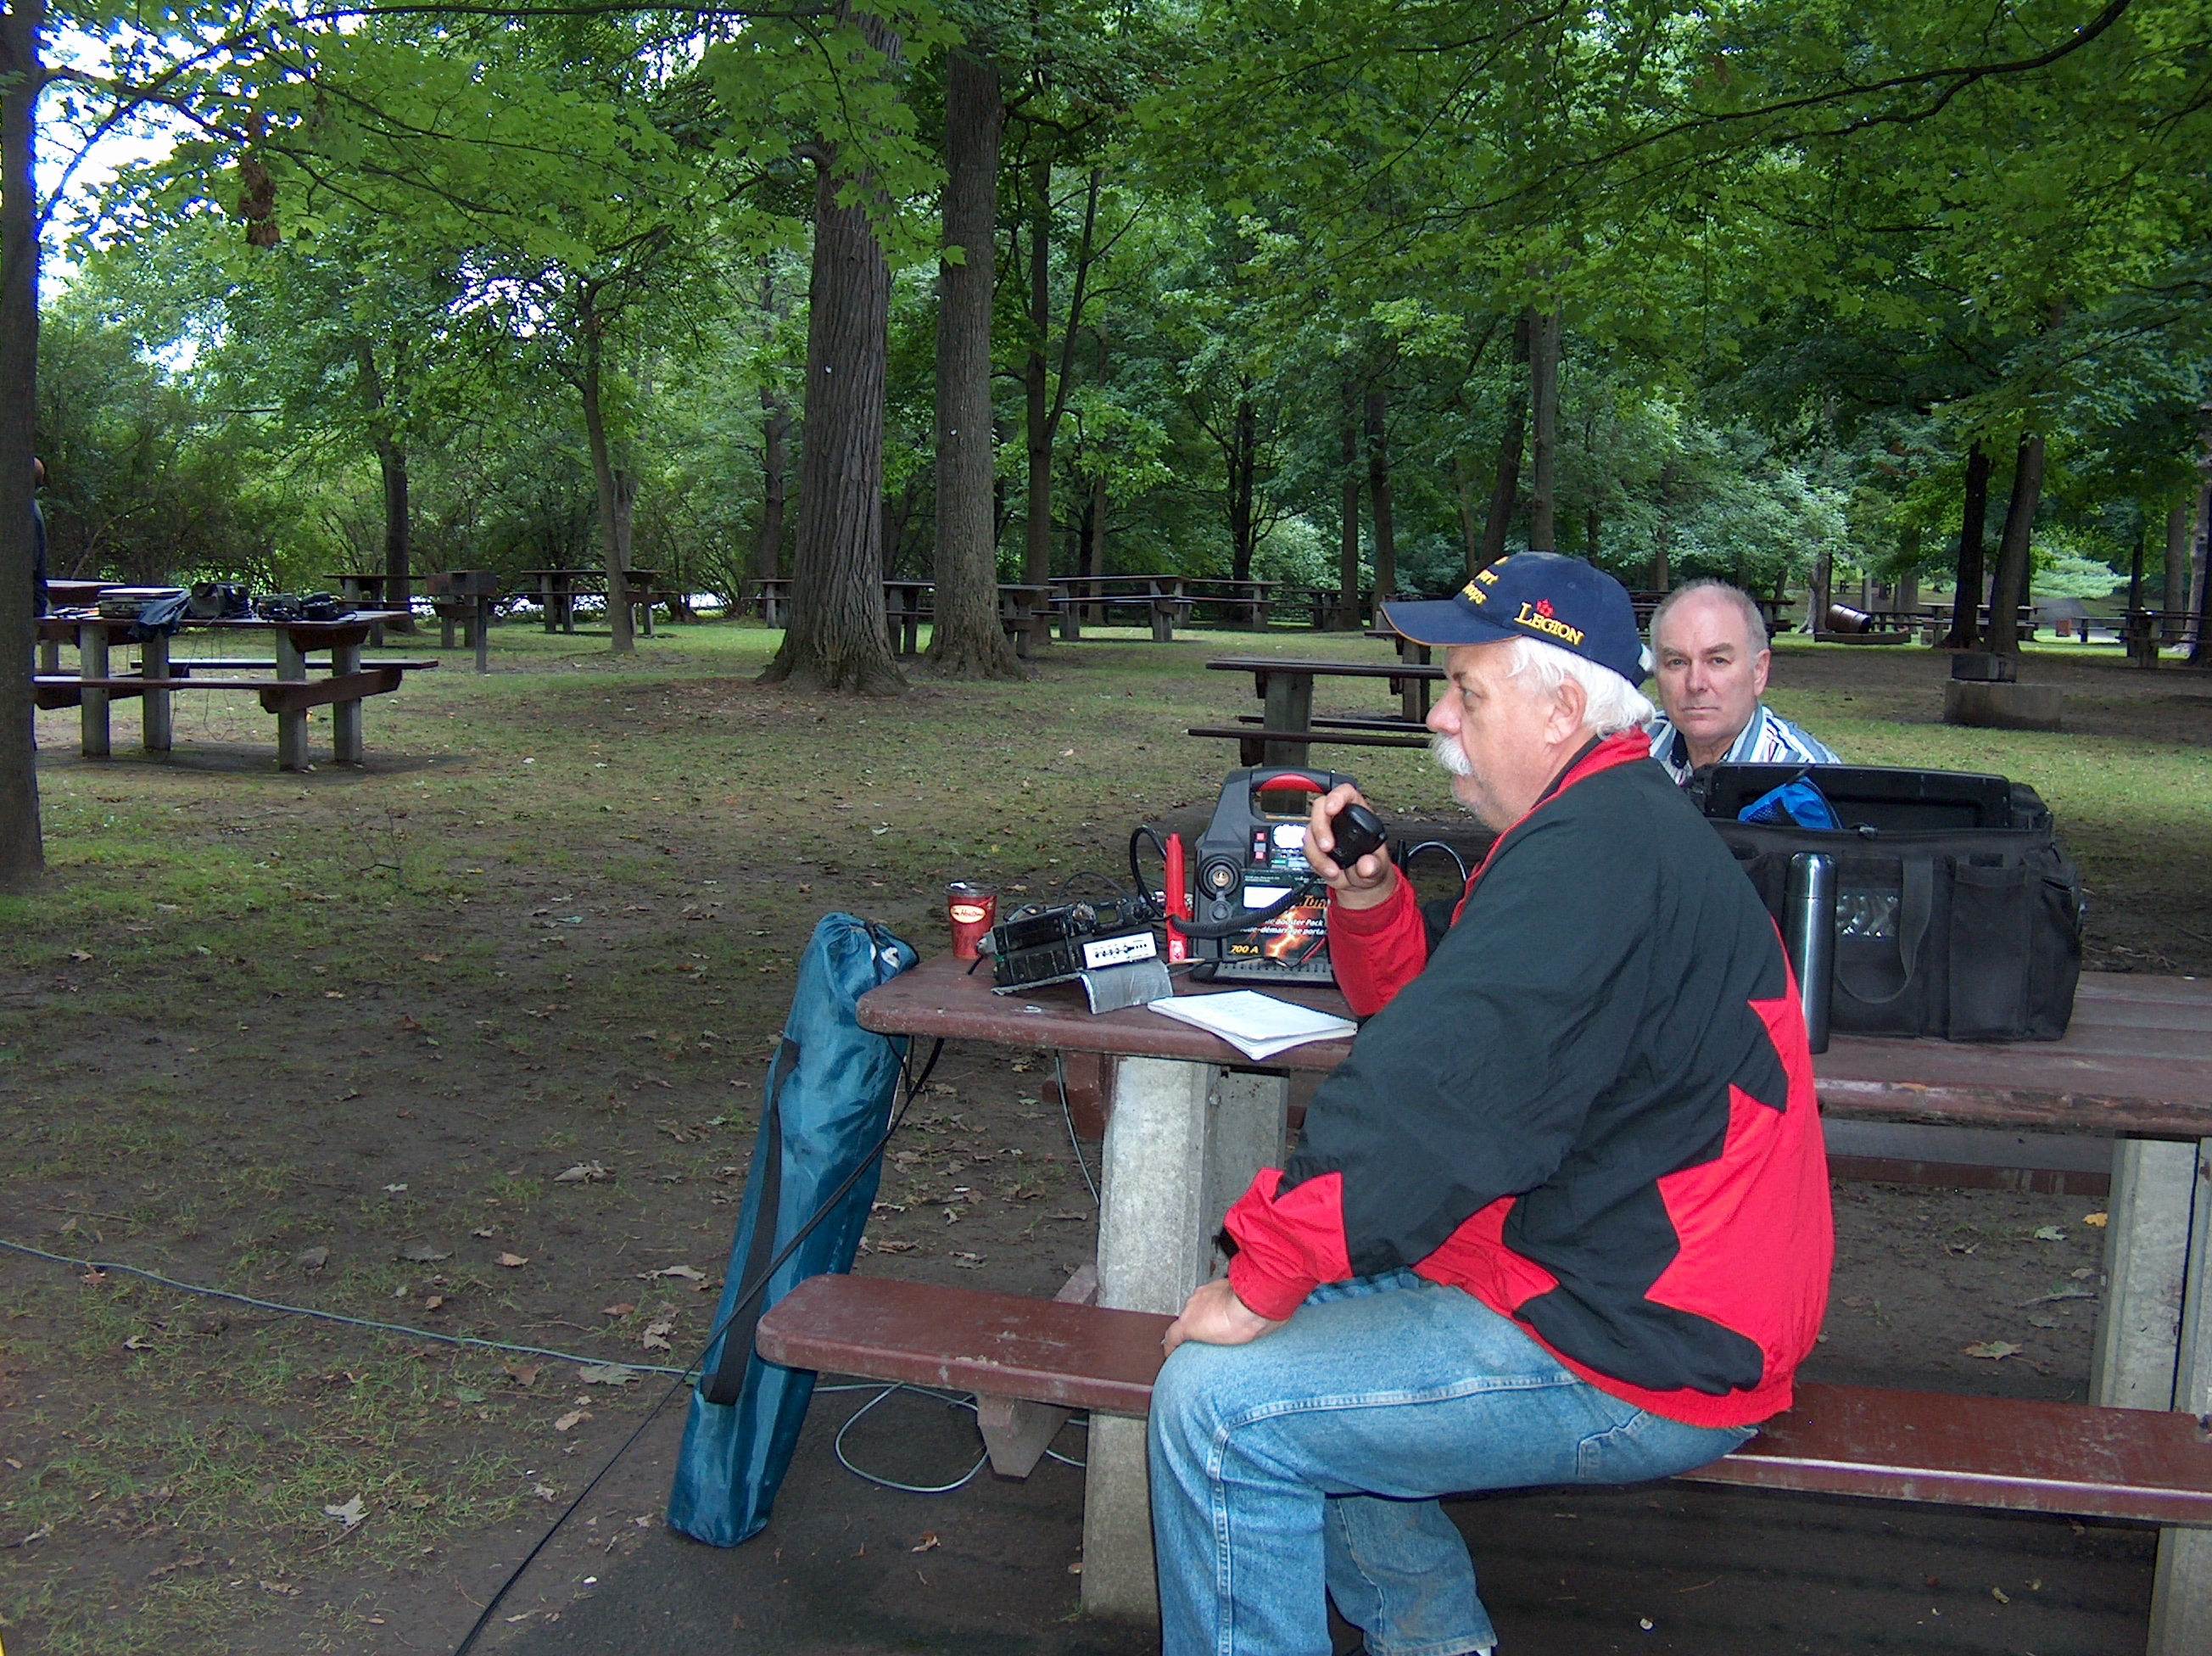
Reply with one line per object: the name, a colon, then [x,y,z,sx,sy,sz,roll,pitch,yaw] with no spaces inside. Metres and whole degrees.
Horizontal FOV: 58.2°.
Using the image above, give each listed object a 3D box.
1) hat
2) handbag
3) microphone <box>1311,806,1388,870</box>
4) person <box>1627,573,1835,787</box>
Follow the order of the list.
hat: [0.810,-0.419,3.891,0.553,0.174,0.335,14,3,8]
handbag: [1.810,0.155,4.533,0.817,0.288,0.744,0,16,6]
microphone: [0.511,0.024,4.246,0.064,0.080,0.112,-44,-4,-29]
person: [1.882,-0.439,6.323,0.843,0.626,0.490,0,16,29]
